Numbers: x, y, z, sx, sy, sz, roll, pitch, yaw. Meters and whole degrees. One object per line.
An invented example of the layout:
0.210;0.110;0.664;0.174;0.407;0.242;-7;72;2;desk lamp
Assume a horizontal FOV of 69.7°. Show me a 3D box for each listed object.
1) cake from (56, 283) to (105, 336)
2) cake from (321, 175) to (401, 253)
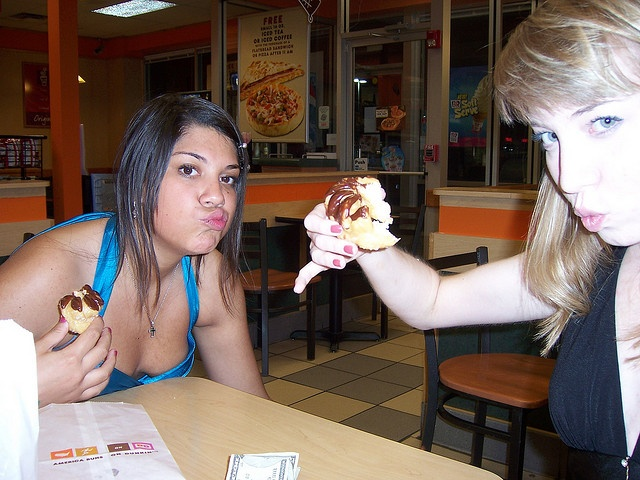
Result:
-0.560;0.161;1.087;0.095;0.126;0.049;3;-21;-4;cake
0.084;-0.067;0.967;0.136;0.145;0.119;1;7;-14;cake
